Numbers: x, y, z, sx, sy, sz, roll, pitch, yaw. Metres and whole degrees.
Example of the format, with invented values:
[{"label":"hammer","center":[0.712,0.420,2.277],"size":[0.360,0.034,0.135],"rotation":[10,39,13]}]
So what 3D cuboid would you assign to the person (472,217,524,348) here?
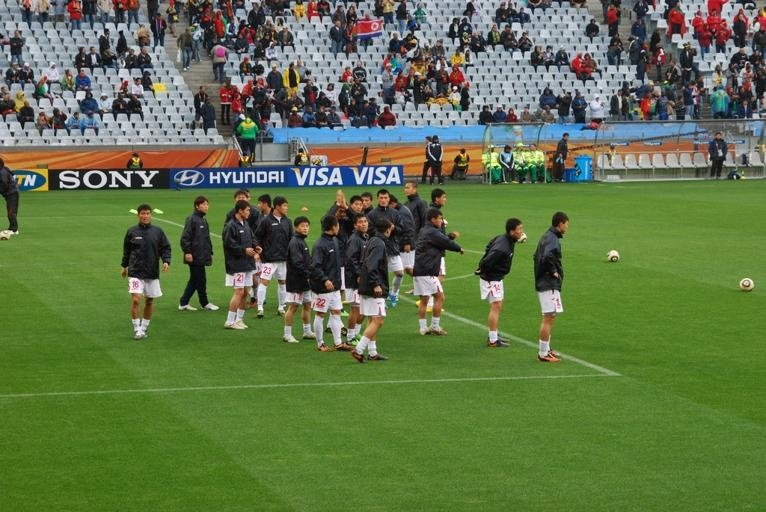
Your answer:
[{"label":"person","center":[2.408,0.572,23.537],"size":[0.942,2.697,0.700],"rotation":[1,5,9]}]

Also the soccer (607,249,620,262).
[{"label":"soccer","center":[6.365,0.005,31.830],"size":[0.365,0.345,0.294],"rotation":[-5,14,28]}]

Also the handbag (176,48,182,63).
[{"label":"handbag","center":[-10.108,-9.841,56.682],"size":[0.216,0.647,1.114],"rotation":[-1,6,-14]}]
